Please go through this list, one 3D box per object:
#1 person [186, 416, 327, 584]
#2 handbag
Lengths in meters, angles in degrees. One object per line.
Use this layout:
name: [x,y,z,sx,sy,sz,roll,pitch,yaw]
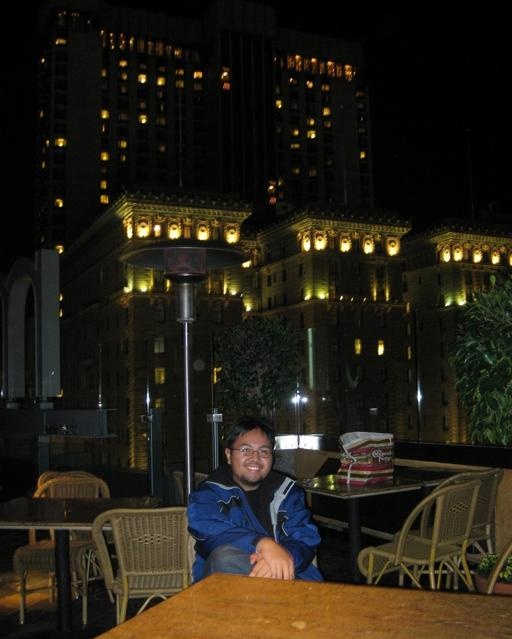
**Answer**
person: [-0.038,0.841,3.964,0.652,0.779,0.690,-4,-7,11]
handbag: [0.909,1.099,6.598,0.446,0.426,0.375,5,-14,-25]
